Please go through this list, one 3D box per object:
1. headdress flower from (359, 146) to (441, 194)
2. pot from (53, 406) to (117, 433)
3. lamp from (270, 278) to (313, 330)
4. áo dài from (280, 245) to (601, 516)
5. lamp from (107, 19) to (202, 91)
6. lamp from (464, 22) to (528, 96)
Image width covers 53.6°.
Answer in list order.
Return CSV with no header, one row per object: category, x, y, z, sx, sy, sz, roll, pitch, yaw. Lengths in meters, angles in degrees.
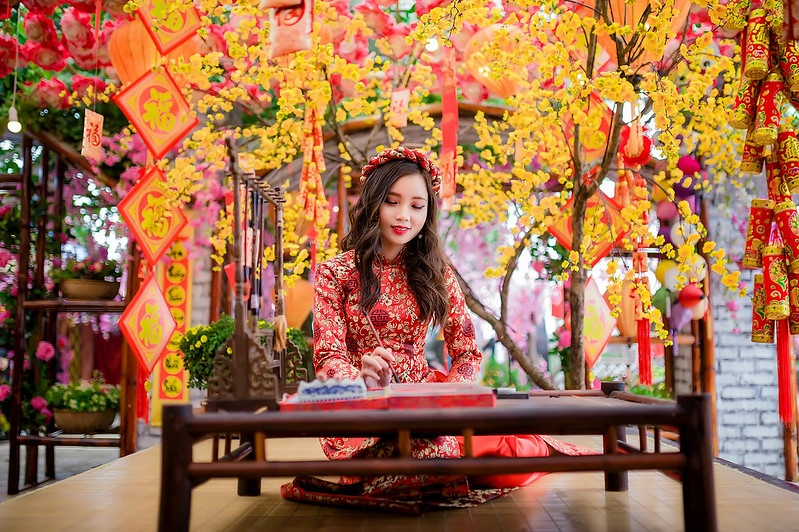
headdress flower,0.028,-0.599,4.519,0.318,0.286,0.087,1,23,4
pot,-2.664,1.313,6.669,0.303,0.122,0.307,0,-7,0
lamp,-0.902,0.322,7.004,0.335,0.458,0.444,6,-11,-41
áo dài,0.000,0.673,4.847,1.872,1.820,1.322,7,-19,-39
lamp,-1.778,-1.541,5.786,0.589,0.591,0.557,-10,7,-4
lamp,0.653,-1.450,5.426,0.421,0.486,0.986,1,4,5
